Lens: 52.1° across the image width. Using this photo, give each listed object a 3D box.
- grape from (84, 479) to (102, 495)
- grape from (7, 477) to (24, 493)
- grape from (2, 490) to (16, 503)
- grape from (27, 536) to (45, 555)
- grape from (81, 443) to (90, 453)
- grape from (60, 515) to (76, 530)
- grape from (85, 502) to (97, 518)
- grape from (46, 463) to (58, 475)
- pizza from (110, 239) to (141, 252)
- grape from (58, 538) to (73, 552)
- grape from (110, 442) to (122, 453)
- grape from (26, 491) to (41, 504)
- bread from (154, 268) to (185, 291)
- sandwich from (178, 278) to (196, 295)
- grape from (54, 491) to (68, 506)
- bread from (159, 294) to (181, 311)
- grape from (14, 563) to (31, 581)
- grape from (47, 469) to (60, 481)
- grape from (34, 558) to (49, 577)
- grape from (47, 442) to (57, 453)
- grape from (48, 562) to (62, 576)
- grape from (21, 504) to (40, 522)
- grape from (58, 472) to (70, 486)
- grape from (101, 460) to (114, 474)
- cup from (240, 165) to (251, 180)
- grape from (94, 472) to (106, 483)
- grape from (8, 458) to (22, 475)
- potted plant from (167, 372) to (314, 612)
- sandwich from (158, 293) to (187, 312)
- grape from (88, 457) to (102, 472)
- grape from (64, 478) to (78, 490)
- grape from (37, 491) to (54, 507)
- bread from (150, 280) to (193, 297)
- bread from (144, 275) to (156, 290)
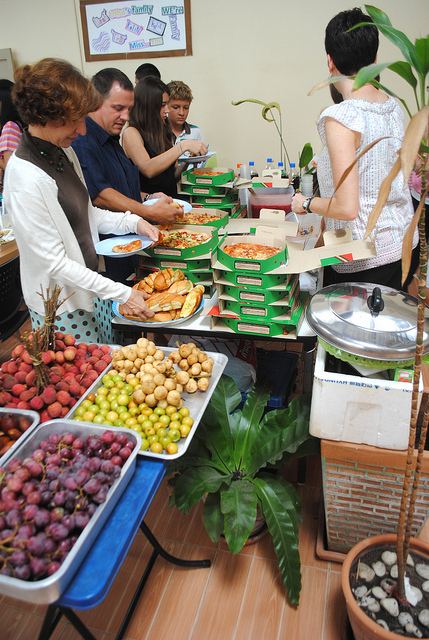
[{"bbox_3d":[-0.248,0.338,0.893,0.022,0.018,0.030,22,24,6],"label":"grape"},{"bbox_3d":[-0.393,0.326,0.868,0.016,0.020,0.016,-26,15,3],"label":"grape"},{"bbox_3d":[-0.398,0.341,0.852,0.015,0.016,0.009,-24,-2,28],"label":"grape"},{"bbox_3d":[-0.312,0.396,0.771,0.025,0.029,0.022,-6,24,-1],"label":"grape"},{"bbox_3d":[-0.298,0.296,1.017,0.016,0.021,0.021,2,-8,1],"label":"grape"},{"bbox_3d":[-0.275,0.378,0.828,0.022,0.023,0.026,-5,-19,-20],"label":"grape"},{"bbox_3d":[-0.246,0.377,0.869,0.011,0.021,0.016,-1,-6,18],"label":"grape"},{"bbox_3d":[-0.343,0.312,0.921,0.014,0.013,0.015,-19,26,-9],"label":"grape"},{"bbox_3d":[-0.346,-0.291,1.754,0.072,0.023,0.074,-5,19,11],"label":"pizza"},{"bbox_3d":[-0.270,0.409,0.801,0.012,0.016,0.021,-11,45,21],"label":"grape"},{"bbox_3d":[-0.224,0.290,1.000,0.020,0.021,0.011,5,-12,-18],"label":"grape"},{"bbox_3d":[-0.347,0.342,0.844,0.017,0.016,0.021,5,23,-13],"label":"grape"},{"bbox_3d":[-0.184,-0.171,1.753,0.070,0.039,0.107,18,46,34],"label":"bread"},{"bbox_3d":[-0.110,-0.136,1.747,0.047,0.022,0.064,-4,43,-13],"label":"sandwich"},{"bbox_3d":[-0.299,0.346,0.850,0.017,0.024,0.017,7,-20,-24],"label":"grape"},{"bbox_3d":[-0.168,-0.065,1.643,0.049,0.019,0.051,-29,31,9],"label":"bread"},{"bbox_3d":[-0.325,0.426,0.745,0.021,0.021,0.028,-28,39,32],"label":"grape"},{"bbox_3d":[-0.333,0.319,0.908,0.015,0.019,0.011,-37,-11,3],"label":"grape"},{"bbox_3d":[-0.297,0.424,0.754,0.013,0.024,0.017,4,-24,22],"label":"grape"},{"bbox_3d":[-0.369,0.290,0.998,0.019,0.013,0.029,-12,25,-17],"label":"grape"},{"bbox_3d":[-0.279,0.430,0.766,0.015,0.018,0.010,38,-5,-17],"label":"grape"},{"bbox_3d":[-0.343,0.358,0.819,0.019,0.028,0.016,23,-17,0],"label":"grape"},{"bbox_3d":[-0.306,0.324,0.896,0.017,0.023,0.013,-2,-19,26],"label":"grape"},{"bbox_3d":[-0.228,0.313,0.935,0.020,0.026,0.020,-45,13,3],"label":"grape"},{"bbox_3d":[0.187,-0.894,2.675,0.063,0.081,0.203,-3,24,4],"label":"cup"},{"bbox_3d":[-0.239,0.328,0.919,0.019,0.019,0.020,0,-2,2],"label":"grape"},{"bbox_3d":[-0.428,0.318,0.945,0.019,0.027,0.016,-2,-14,29],"label":"grape"},{"bbox_3d":[0.108,0.497,1.641,0.508,0.788,0.712,1,24,12],"label":"potted plant"},{"bbox_3d":[-0.154,-0.069,1.648,0.065,0.025,0.069,7,37,24],"label":"sandwich"},{"bbox_3d":[-0.254,0.305,0.931,0.020,0.027,0.015,0,-10,8],"label":"grape"},{"bbox_3d":[-0.284,0.325,0.873,0.018,0.019,0.023,31,-6,-23],"label":"grape"},{"bbox_3d":[-0.329,0.349,0.860,0.021,0.028,0.015,7,3,12],"label":"grape"},{"bbox_3d":[-0.160,-0.119,1.718,0.104,0.030,0.069,-33,34,-26],"label":"bread"},{"bbox_3d":[-0.259,-0.147,1.770,0.014,0.048,0.037,-36,-31,7],"label":"bread"}]
